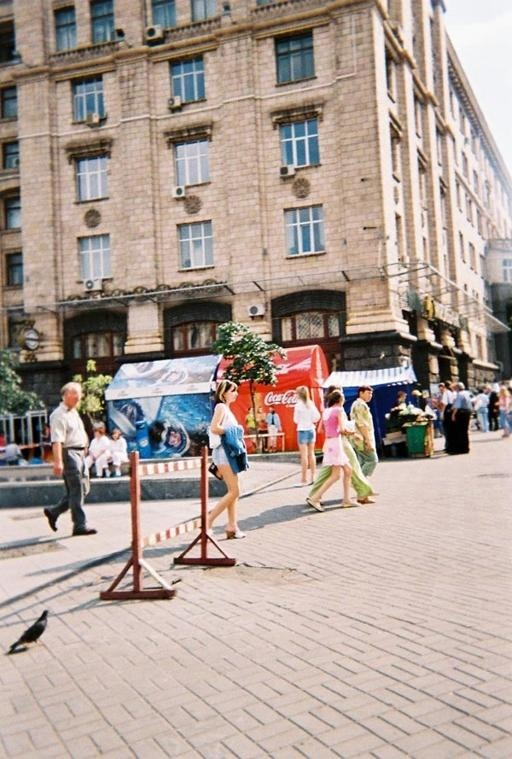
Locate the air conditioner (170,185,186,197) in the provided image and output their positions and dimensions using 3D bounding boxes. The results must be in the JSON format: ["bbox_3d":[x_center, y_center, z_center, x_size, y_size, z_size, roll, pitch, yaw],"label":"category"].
[{"bbox_3d":[-2.478,-6.059,27.960,0.423,0.325,0.325,-3,-1,-3],"label":"air conditioner"}]

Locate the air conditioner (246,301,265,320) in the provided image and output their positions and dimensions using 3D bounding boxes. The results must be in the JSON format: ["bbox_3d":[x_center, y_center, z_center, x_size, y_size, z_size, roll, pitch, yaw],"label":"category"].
[{"bbox_3d":[0.045,-2.069,26.528,0.743,0.565,0.384,-2,-7,24],"label":"air conditioner"}]

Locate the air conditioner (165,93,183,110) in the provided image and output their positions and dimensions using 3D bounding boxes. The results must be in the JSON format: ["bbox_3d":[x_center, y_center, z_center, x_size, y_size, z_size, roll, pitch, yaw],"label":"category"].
[{"bbox_3d":[-2.663,-9.012,28.181,0.506,0.456,0.351,-2,-5,0],"label":"air conditioner"}]

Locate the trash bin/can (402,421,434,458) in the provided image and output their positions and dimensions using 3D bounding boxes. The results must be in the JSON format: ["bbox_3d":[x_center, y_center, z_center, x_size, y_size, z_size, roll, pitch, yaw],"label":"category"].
[{"bbox_3d":[3.678,1.296,18.989,0.779,0.872,0.810,-2,0,22],"label":"trash bin/can"}]

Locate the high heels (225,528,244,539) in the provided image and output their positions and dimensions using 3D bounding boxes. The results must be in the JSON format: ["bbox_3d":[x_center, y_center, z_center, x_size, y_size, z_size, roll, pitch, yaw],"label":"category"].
[{"bbox_3d":[-0.215,1.562,8.813,0.182,0.064,0.095,-3,0,4],"label":"high heels"}]

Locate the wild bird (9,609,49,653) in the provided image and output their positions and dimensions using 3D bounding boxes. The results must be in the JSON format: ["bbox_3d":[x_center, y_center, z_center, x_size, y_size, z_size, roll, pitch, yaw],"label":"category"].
[{"bbox_3d":[-1.376,1.559,5.400,0.231,0.167,0.305,-4,-1,27],"label":"wild bird"}]

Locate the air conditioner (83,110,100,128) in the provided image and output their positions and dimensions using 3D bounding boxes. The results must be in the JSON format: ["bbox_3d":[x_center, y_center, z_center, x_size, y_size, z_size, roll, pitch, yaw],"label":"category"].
[{"bbox_3d":[-5.495,-8.783,29.223,0.520,0.356,0.505,-3,-1,13],"label":"air conditioner"}]

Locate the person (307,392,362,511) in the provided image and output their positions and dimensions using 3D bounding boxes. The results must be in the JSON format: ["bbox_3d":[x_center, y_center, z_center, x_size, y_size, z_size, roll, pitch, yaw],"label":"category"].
[{"bbox_3d":[0.909,0.853,10.712,0.522,1.241,0.705,-4,-1,20],"label":"person"}]

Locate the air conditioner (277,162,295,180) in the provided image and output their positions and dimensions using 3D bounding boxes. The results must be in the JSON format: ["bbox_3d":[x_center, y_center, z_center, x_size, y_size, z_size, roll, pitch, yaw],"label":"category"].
[{"bbox_3d":[0.921,-6.293,26.563,0.719,0.480,0.403,-1,-5,26],"label":"air conditioner"}]
